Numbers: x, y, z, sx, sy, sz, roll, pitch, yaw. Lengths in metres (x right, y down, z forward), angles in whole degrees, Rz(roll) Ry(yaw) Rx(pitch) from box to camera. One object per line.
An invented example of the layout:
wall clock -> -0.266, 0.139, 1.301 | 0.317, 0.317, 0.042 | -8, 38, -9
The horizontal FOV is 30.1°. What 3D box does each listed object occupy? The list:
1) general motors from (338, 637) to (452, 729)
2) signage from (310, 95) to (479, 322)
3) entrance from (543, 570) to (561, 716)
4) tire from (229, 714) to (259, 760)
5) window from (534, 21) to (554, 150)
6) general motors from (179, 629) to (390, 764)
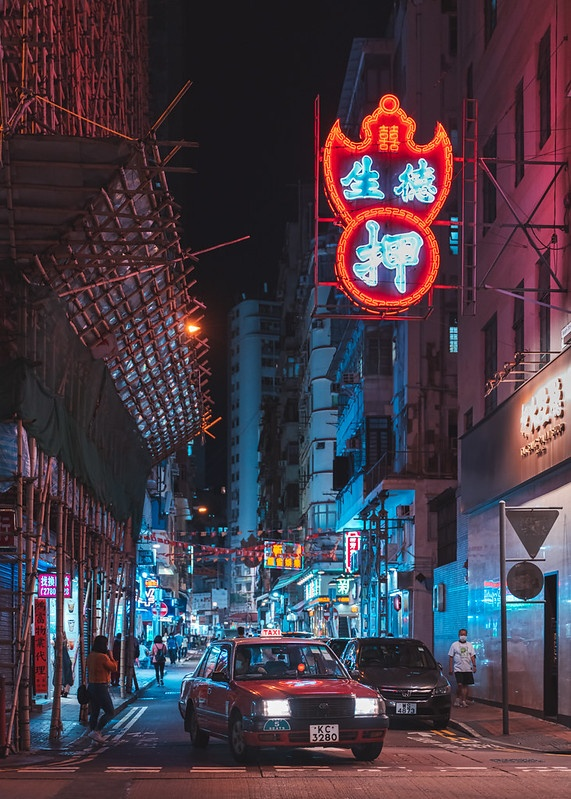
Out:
general motors -> 2.027, 4.769, 18.362 | 1.116, 1.220, 2.971 | 1, -16, -1
signage -> 2.336, -3.996, 22.604 | 3.489, 5.593, 0.648 | 2, -26, 4
entrance -> 4.975, 4.583, 20.004 | 0.421, 2.584, 0.718 | -5, -5, 15
tire -> -0.480, 3.806, 12.010 | 0.130, 0.490, 0.435 | 6, -18, -29
window -> 5.057, -6.134, 20.846 | 0.353, 2.297, 1.631 | -5, -6, 12
general motors -> -0.158, 3.434, 12.656 | 1.141, 1.032, 2.722 | 3, -11, -15
